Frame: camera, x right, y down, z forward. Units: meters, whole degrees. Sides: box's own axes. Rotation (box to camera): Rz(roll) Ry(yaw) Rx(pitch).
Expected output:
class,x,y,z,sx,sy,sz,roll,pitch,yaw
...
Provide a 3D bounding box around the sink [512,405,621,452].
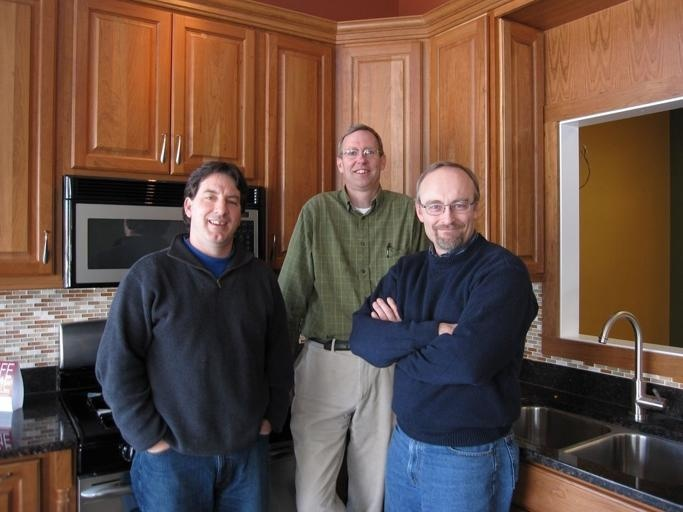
class,x,y,z,sx,sy,sz,roll,pitch,yaw
sink,1.005,0.803,2.748,0.228,0.125,0.291,-3,7,-29

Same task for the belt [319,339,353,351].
class,x,y,z,sx,sy,sz,roll,pitch,yaw
belt,-0.028,0.380,2.569,0.128,0.053,0.044,-2,-1,15
